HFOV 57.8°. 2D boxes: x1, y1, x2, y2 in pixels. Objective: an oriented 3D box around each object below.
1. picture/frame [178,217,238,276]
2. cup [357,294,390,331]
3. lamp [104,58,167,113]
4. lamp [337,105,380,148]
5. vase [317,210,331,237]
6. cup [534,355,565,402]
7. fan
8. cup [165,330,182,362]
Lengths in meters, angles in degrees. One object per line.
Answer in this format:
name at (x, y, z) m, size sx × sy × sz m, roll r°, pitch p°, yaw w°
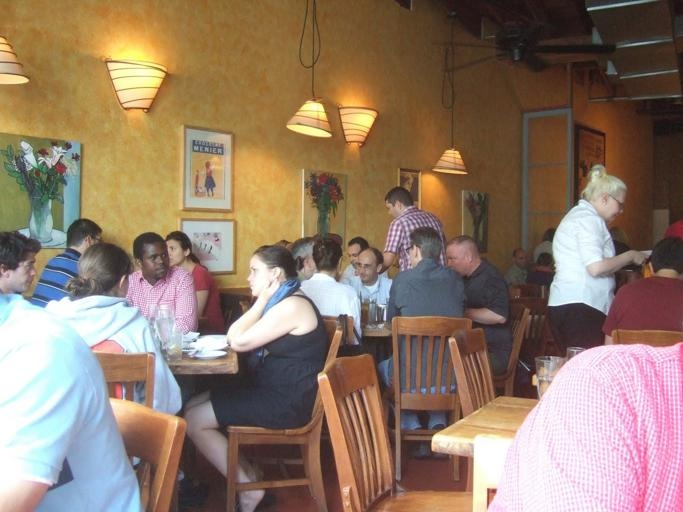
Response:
picture/frame at (-1.070, -0.083, 4.912) m, size 0.033 × 0.418 × 0.450 m, roll -3°, pitch -2°, yaw 34°
cup at (0.216, 0.407, 4.376) m, size 0.185 × 0.147 × 0.149 m, roll 0°, pitch -7°, yaw 18°
lamp at (-1.435, -1.209, 4.360) m, size 0.348 × 0.332 × 0.303 m, roll -1°, pitch 14°, yaw -12°
lamp at (0.141, -1.285, 6.232) m, size 0.407 × 0.410 × 0.377 m, roll 5°, pitch 3°, yaw -22°
vase at (-0.166, -0.319, 5.974) m, size 0.181 × 0.322 × 0.191 m, roll 0°, pitch -2°, yaw -1°
cup at (0.751, 0.462, 2.259) m, size 0.099 × 0.177 × 0.112 m, roll 3°, pitch -8°, yaw 3°
fan at (2.113, -2.503, 7.449) m, size 1.200 × 0.349 × 1.192 m, roll -10°, pitch 10°, yaw -42°
cup at (-0.815, 0.441, 3.031) m, size 0.088 × 0.168 × 0.096 m, roll -3°, pitch -13°, yaw -1°
